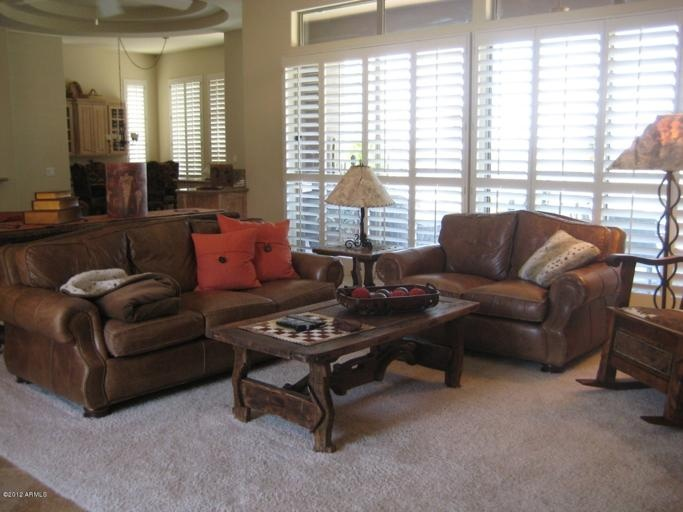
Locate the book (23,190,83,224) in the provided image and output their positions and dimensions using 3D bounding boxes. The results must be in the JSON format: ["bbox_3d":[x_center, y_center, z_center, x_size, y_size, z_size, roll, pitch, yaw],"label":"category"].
[{"bbox_3d":[-1.969,-0.318,3.748,0.260,0.155,0.343,2,6,22],"label":"book"}]

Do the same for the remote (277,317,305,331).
[{"bbox_3d":[-0.265,0.358,2.944,0.078,0.036,0.205,-12,15,-42],"label":"remote"}]

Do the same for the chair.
[{"bbox_3d":[-3.582,-1.142,9.274,1.707,0.826,0.892,-5,13,-19],"label":"chair"}]

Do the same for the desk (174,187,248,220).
[{"bbox_3d":[-1.358,-0.558,5.871,0.420,0.581,0.674,-3,5,-44],"label":"desk"}]

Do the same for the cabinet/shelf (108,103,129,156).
[{"bbox_3d":[-4.163,-2.390,10.383,0.183,0.898,0.488,7,16,32],"label":"cabinet/shelf"}]

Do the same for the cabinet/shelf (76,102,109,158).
[{"bbox_3d":[-4.512,-2.339,10.049,0.171,0.954,0.669,7,15,32],"label":"cabinet/shelf"}]

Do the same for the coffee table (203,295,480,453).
[{"bbox_3d":[0.131,0.548,3.204,0.745,0.458,1.379,3,3,42],"label":"coffee table"}]

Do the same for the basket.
[{"bbox_3d":[0.288,0.249,3.186,0.435,0.103,0.247,-1,2,-25],"label":"basket"}]

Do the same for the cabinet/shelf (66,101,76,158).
[{"bbox_3d":[-4.784,-2.269,9.799,0.158,0.969,0.341,-8,15,-24],"label":"cabinet/shelf"}]

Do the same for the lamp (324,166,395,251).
[{"bbox_3d":[0.152,-0.415,4.678,0.713,0.770,0.685,0,9,3],"label":"lamp"}]
